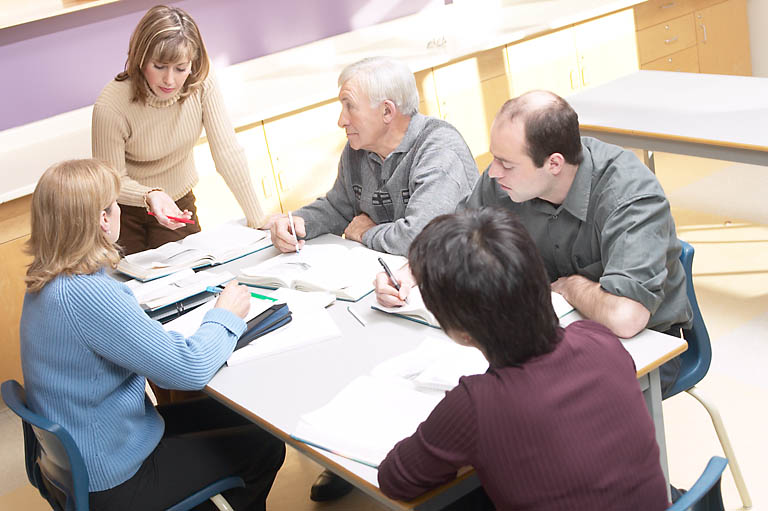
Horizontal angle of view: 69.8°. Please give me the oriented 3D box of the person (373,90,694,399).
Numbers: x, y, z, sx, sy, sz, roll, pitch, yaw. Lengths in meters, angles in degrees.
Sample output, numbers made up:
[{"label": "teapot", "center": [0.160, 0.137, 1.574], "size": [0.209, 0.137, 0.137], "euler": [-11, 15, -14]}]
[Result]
[{"label": "person", "center": [0.663, 0.030, 2.201], "size": [1.012, 1.336, 0.978], "euler": [11, 30, 41]}]

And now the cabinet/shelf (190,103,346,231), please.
[{"label": "cabinet/shelf", "center": [-0.771, -0.573, 3.499], "size": [0.835, 0.706, 0.277], "euler": [-29, 36, -27]}]
